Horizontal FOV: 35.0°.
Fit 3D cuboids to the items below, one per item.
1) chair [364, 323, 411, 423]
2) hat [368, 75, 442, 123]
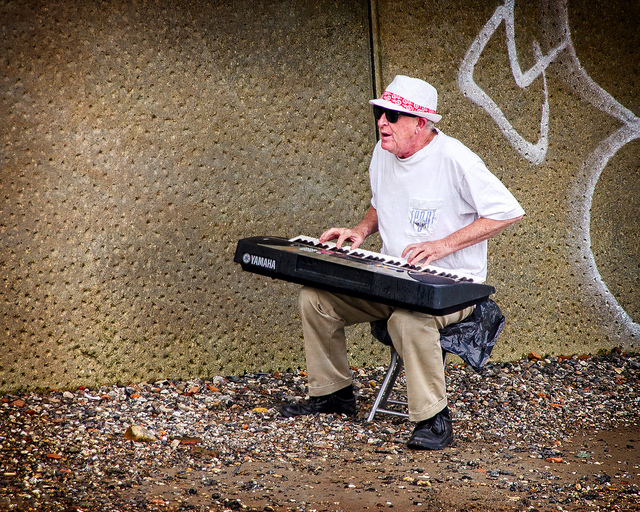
[{"bbox_3d":[0.495,0.779,6.581,0.343,0.389,0.672,6,87,-6],"label":"chair"},{"bbox_3d":[0.540,-0.975,6.289,0.340,0.287,0.141,21,91,-15],"label":"hat"}]
